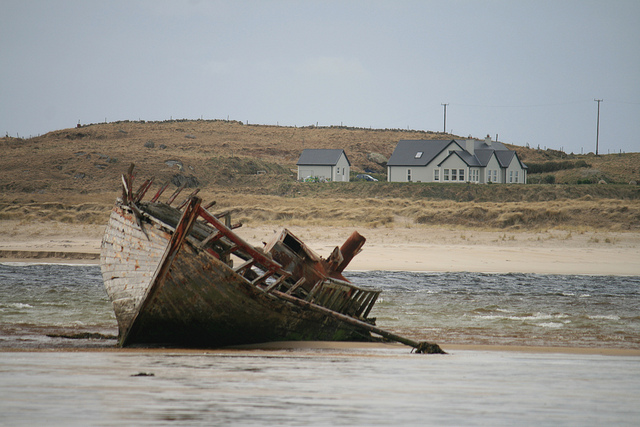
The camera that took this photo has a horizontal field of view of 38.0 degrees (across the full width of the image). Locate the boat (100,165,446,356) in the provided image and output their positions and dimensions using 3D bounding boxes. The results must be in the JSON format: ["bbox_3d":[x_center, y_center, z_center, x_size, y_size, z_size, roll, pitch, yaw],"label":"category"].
[{"bbox_3d":[-2.690,1.625,29.282,8.037,5.416,2.295,-2,10,-14],"label":"boat"}]

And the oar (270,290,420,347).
[{"bbox_3d":[1.143,3.522,30.179,0.532,0.372,7.457,-3,10,-29],"label":"oar"}]
